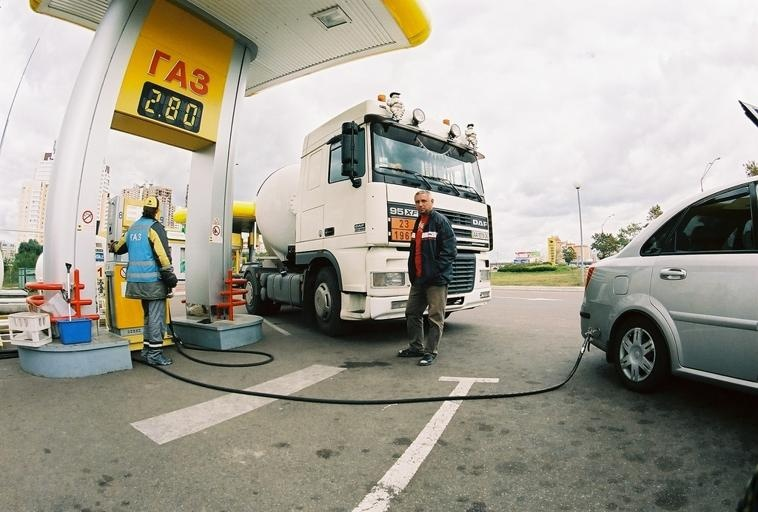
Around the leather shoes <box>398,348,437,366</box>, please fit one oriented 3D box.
[{"bbox_3d":[0.538,1.488,6.471,0.587,0.240,0.218,6,-1,28],"label":"leather shoes"}]

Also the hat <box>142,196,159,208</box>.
[{"bbox_3d":[-3.500,-0.833,6.588,0.164,0.138,0.246,11,16,-7],"label":"hat"}]

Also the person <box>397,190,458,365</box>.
[{"bbox_3d":[0.687,0.319,6.404,0.771,2.525,0.709,-10,14,-37],"label":"person"}]

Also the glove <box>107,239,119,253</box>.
[{"bbox_3d":[-4.169,-0.149,6.714,0.188,0.097,0.258,7,-22,-17],"label":"glove"}]

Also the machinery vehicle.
[{"bbox_3d":[-1.022,-0.494,10.500,3.613,4.096,7.153,0,-2,-37],"label":"machinery vehicle"}]

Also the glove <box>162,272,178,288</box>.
[{"bbox_3d":[-3.171,0.364,6.419,0.241,0.227,0.185,-13,0,31],"label":"glove"}]
